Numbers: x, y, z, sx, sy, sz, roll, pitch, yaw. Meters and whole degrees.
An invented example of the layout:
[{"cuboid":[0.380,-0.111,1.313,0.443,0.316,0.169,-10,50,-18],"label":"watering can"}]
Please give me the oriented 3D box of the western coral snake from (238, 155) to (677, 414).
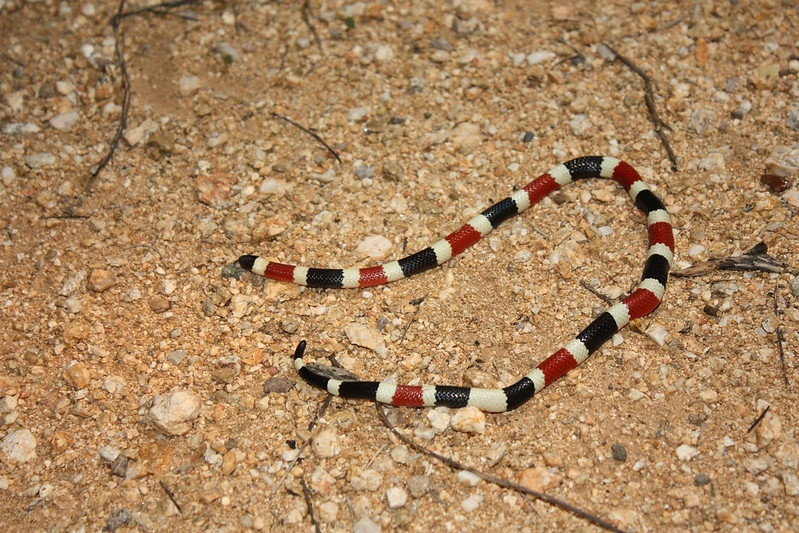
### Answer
[{"cuboid":[0.836,0.284,7.092,3.754,0.827,2.016,-19,86,-1],"label":"western coral snake"}]
